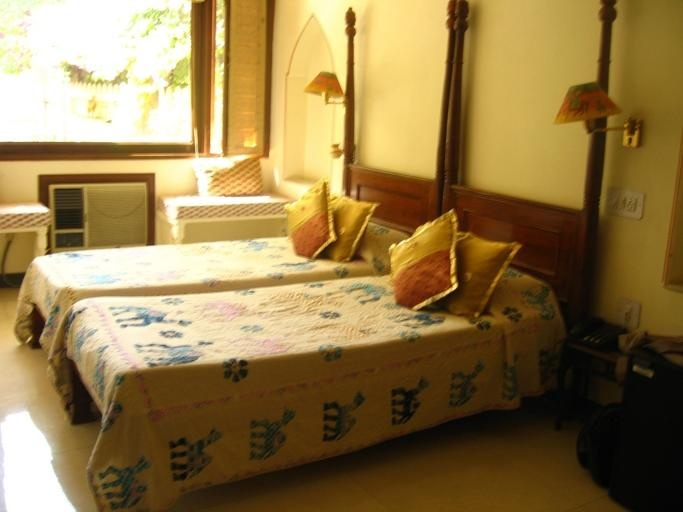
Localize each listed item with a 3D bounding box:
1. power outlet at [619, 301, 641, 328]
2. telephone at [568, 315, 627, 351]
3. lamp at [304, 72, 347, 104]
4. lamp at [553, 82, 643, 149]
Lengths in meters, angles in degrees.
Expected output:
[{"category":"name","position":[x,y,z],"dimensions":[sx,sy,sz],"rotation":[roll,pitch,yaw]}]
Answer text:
[{"category":"power outlet","position":[1.603,0.324,2.991],"dimensions":[0.032,0.132,0.127],"rotation":[5,-6,-19]},{"category":"telephone","position":[1.410,0.431,2.980],"dimensions":[0.194,0.060,0.189],"rotation":[-21,29,-20]},{"category":"lamp","position":[-0.151,-1.452,4.594],"dimensions":[0.303,0.135,0.381],"rotation":[3,-9,6]},{"category":"lamp","position":[1.392,-0.730,2.881],"dimensions":[0.482,0.373,0.334],"rotation":[-10,18,-17]}]
